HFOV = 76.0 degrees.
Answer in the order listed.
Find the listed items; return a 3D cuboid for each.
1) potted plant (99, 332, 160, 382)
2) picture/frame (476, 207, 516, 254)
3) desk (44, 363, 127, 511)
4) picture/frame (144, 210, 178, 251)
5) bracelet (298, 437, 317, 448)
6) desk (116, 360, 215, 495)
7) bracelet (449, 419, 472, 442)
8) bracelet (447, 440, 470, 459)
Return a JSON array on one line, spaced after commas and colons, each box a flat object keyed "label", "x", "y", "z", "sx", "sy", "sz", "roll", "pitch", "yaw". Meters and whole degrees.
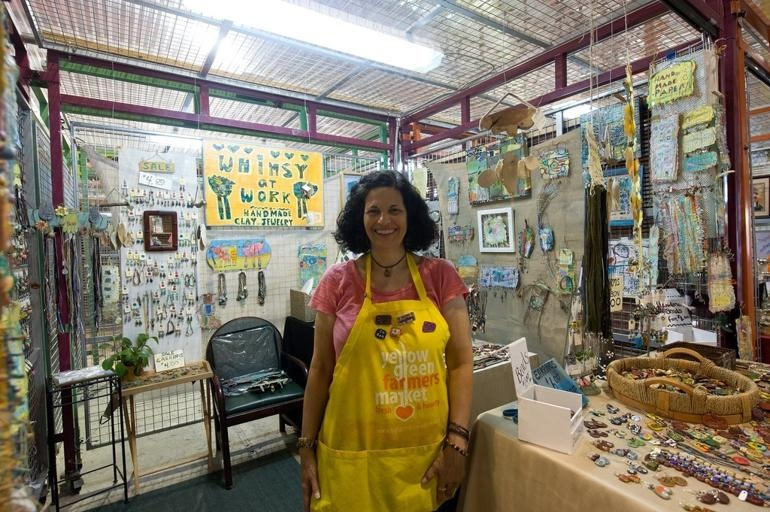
[{"label": "potted plant", "x": -2.308, "y": 0.881, "z": 4.406, "sx": 0.489, "sy": 0.336, "sz": 0.484, "roll": 1, "pitch": 8, "yaw": -44}, {"label": "picture/frame", "x": 0.971, "y": -0.232, "z": 4.276, "sx": 0.060, "sy": 0.466, "sz": 0.402, "roll": -5, "pitch": 4, "yaw": -41}, {"label": "desk", "x": -2.810, "y": 1.479, "z": 4.616, "sx": 0.623, "sy": 1.218, "sz": 1.511, "roll": -8, "pitch": 15, "yaw": -30}, {"label": "picture/frame", "x": -2.400, "y": -0.281, "z": 5.218, "sx": 0.418, "sy": 0.572, "sz": 0.062, "roll": -2, "pitch": 0, "yaw": -39}, {"label": "bracelet", "x": -0.499, "y": 1.176, "z": 3.119, "sx": 0.087, "sy": 0.066, "sz": 0.096, "roll": -12, "pitch": -19, "yaw": 36}, {"label": "desk", "x": -2.131, "y": 1.682, "z": 4.748, "sx": 1.005, "sy": 1.316, "sz": 0.587, "roll": -8, "pitch": 12, "yaw": -34}, {"label": "bracelet", "x": 0.450, "y": 1.066, "z": 2.995, "sx": 0.119, "sy": 0.052, "sz": 0.110, "roll": 21, "pitch": -5, "yaw": 45}, {"label": "bracelet", "x": 0.438, "y": 1.152, "z": 2.981, "sx": 0.114, "sy": 0.034, "sz": 0.092, "roll": 22, "pitch": -3, "yaw": 21}]
